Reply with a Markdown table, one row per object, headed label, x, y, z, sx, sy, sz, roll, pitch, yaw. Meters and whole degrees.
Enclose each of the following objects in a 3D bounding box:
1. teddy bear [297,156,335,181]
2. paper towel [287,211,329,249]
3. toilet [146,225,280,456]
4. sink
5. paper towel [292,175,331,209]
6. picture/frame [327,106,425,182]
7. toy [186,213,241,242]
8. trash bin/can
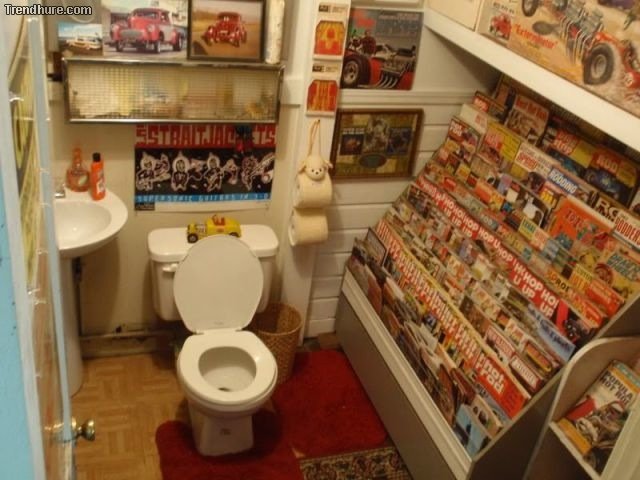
| label | x | y | z | sx | sy | sz | roll | pitch | yaw |
| --- | --- | --- | --- | --- | --- | --- | --- | --- | --- |
| teddy bear | -0.023 | -0.415 | 2.939 | 0.151 | 0.095 | 0.152 | -6 | 36 | -7 |
| paper towel | -0.077 | -0.076 | 3.034 | 0.245 | 0.243 | 0.194 | 0 | 24 | -12 |
| toilet | -0.610 | 0.575 | 2.858 | 0.704 | 1.450 | 0.948 | -4 | 40 | -18 |
| sink | -1.195 | -0.095 | 2.626 | 0.342 | 0.192 | 0.457 | -12 | 35 | -24 |
| paper towel | -0.045 | -0.298 | 2.994 | 0.223 | 0.201 | 0.178 | -1 | 7 | -29 |
| picture/frame | 0.347 | -0.596 | 3.104 | 0.526 | 0.451 | 0.028 | -2 | 31 | -8 |
| toy | -0.632 | -0.103 | 2.955 | 0.274 | 0.139 | 0.161 | -3 | 46 | -15 |
| trash bin/can | -0.228 | 0.628 | 3.396 | 0.409 | 0.507 | 0.466 | -3 | 38 | -3 |
